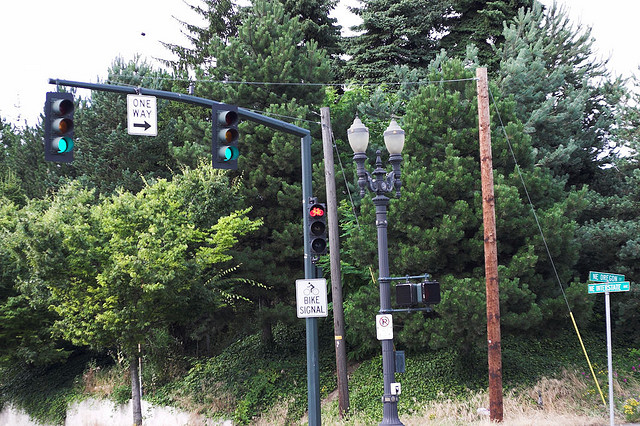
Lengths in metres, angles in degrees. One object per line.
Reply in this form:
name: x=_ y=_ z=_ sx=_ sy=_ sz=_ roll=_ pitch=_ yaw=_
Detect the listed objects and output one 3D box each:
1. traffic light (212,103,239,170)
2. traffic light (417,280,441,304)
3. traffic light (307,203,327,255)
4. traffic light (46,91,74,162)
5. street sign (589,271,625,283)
traffic light: x=-3.485 y=-2.763 z=22.477 sx=0.789 sy=2.389 sz=0.771 roll=-1 pitch=11 yaw=-16
traffic light: x=4.058 y=2.946 z=22.969 sx=0.869 sy=1.028 sz=0.673 roll=3 pitch=-7 yaw=-35
traffic light: x=-0.191 y=0.580 z=23.886 sx=0.724 sy=1.973 sz=0.544 roll=-2 pitch=-3 yaw=10
traffic light: x=-9.044 y=-3.011 z=21.512 sx=0.841 sy=2.420 sz=0.442 roll=0 pitch=-3 yaw=-24
street sign: x=11.247 y=2.521 z=24.561 sx=1.322 sy=0.456 sz=0.362 roll=-2 pitch=-4 yaw=-2
